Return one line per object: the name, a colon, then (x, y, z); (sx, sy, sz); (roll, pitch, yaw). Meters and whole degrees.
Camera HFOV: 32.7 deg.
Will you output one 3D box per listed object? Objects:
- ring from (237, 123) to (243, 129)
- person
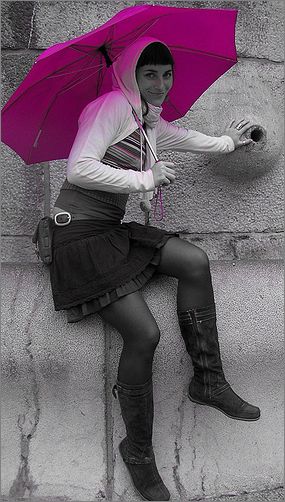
ring: (0.415, -0.535, 2.070); (0.021, 0.026, 0.010); (20, -2, 1)
person: (0.035, 0.049, 1.815); (0.746, 1.583, 0.827); (1, 21, -13)
